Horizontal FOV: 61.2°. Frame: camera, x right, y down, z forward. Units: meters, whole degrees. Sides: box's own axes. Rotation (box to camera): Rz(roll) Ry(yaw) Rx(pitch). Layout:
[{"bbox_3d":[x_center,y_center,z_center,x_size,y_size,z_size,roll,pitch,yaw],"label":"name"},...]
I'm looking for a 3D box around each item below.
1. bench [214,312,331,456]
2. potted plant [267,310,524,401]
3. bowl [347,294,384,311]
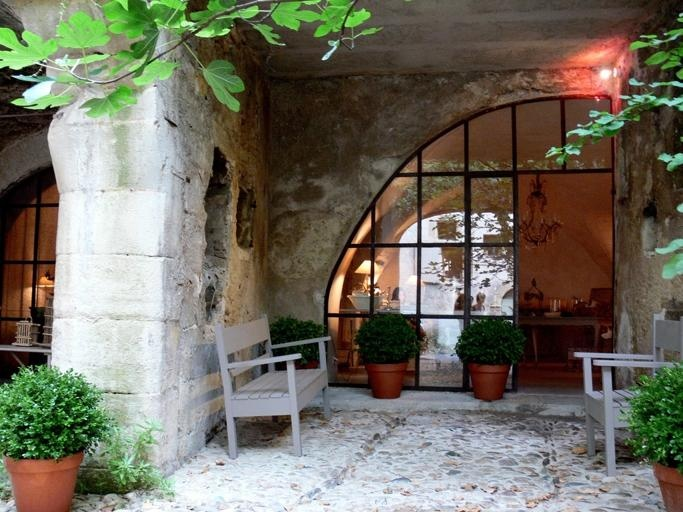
[{"bbox_3d":[-0.543,1.042,5.007,0.707,0.862,1.575,0,-3,4],"label":"bench"},{"bbox_3d":[0.262,1.042,6.260,3.213,0.975,0.874,-1,0,6],"label":"potted plant"},{"bbox_3d":[0.219,0.499,6.443,0.296,0.098,0.203,1,-19,2],"label":"bowl"}]
